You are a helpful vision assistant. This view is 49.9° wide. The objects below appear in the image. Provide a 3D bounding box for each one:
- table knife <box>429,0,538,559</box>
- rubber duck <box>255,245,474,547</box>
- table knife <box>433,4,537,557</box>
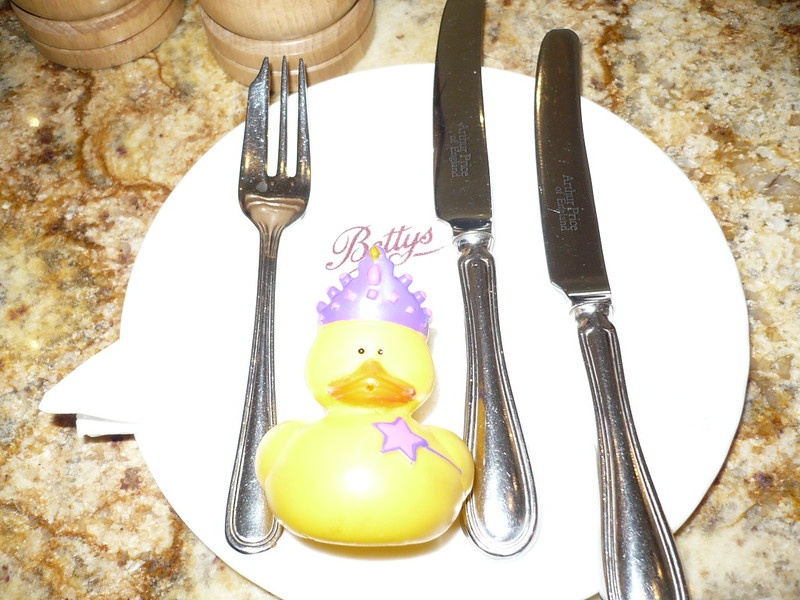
[{"bbox_3d":[0.086,-0.072,0.963,0.069,0.034,0.691,-2,62,3],"label":"table knife"},{"bbox_3d":[-0.036,0.108,0.861,0.254,0.116,0.369,1,69,-3],"label":"rubber duck"},{"bbox_3d":[0.084,-0.070,0.969,0.068,0.033,0.687,-2,62,3],"label":"table knife"}]
